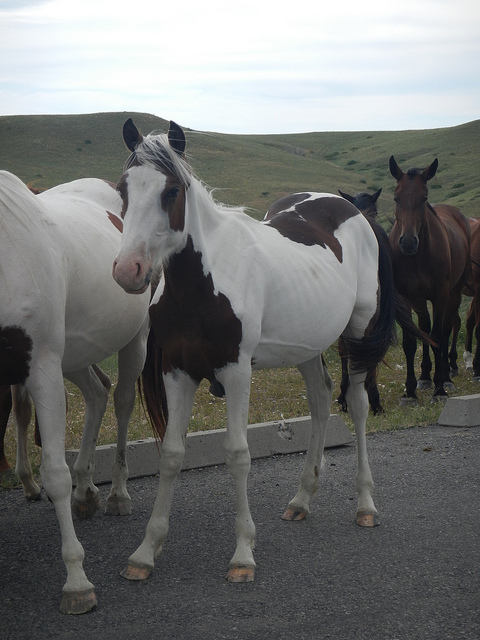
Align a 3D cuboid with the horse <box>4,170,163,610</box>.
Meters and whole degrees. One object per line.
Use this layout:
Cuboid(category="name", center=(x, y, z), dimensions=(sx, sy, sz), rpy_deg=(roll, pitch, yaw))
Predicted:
Cuboid(category="horse", center=(-1.030, 0.266, 3.589), dimensions=(0.702, 2.329, 1.800), rpy_deg=(0, 4, 4))
